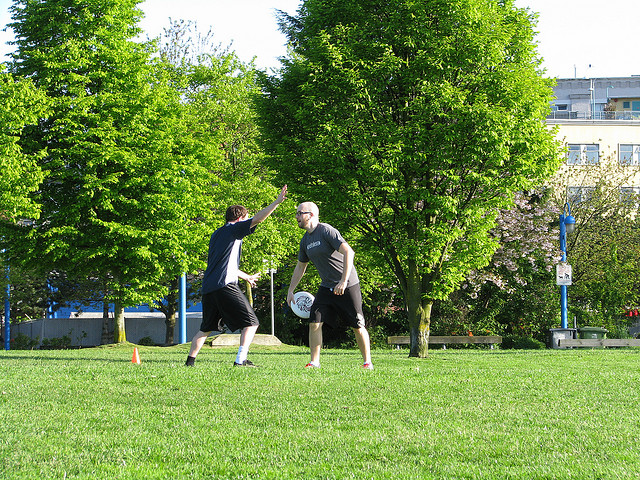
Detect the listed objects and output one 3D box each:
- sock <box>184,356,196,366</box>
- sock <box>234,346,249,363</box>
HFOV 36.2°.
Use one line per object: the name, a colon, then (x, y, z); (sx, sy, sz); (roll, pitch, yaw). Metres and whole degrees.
sock: (-3.158, 2.905, 23.697); (0.231, 0.274, 0.414); (-2, 9, -8)
sock: (-1.910, 2.753, 23.832); (0.329, 0.538, 0.671); (-1, 9, -5)
